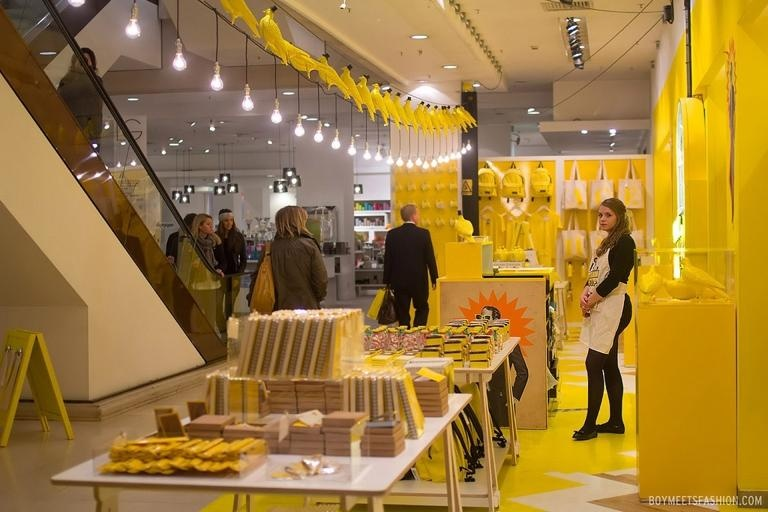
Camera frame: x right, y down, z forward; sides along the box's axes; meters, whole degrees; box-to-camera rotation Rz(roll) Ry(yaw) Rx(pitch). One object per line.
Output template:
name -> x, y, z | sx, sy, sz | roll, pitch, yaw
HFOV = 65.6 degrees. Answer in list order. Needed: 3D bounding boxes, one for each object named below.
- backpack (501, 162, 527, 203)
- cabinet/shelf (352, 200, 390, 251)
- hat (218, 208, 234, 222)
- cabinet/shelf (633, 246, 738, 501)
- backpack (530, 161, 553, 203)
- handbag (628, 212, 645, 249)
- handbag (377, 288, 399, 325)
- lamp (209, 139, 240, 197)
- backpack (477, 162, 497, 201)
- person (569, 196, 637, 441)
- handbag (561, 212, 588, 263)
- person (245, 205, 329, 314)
backpack -> 2.628, -1.470, 12.233 | 0.487, 0.731, 0.438 | 5, -19, -6
cabinet/shelf -> -0.359, -1.100, 21.688 | 1.731, 1.830, 0.564 | 0, 1, 28
hat -> -2.454, -0.627, 9.063 | 0.225, 0.220, 0.210 | 2, 2, 1
cabinet/shelf -> 2.148, 0.857, 4.256 | 0.689, 1.801, 0.357 | 2, 11, 14
backpack -> 3.203, -1.559, 12.229 | 0.436, 0.802, 0.400 | 1, -13, 3
handbag -> 4.111, -0.413, 9.666 | 0.264, 0.747, 0.770 | -2, -4, 20
handbag -> 0.039, 0.694, 8.247 | 0.222, 0.523, 0.423 | 2, -10, 9
lamp -> -5.315, -3.024, 20.322 | 0.539, 1.535, 0.644 | -4, 4, 21
backpack -> 2.068, -1.580, 12.227 | 0.513, 0.753, 0.434 | 3, -5, -15
person -> 2.121, 0.631, 5.700 | 0.475, 2.319, 0.635 | 4, 11, 22
handbag -> 3.768, -0.407, 11.851 | 0.485, 1.051, 0.245 | -2, 31, 15
person -> -1.058, 0.040, 6.375 | 0.823, 1.132, 0.521 | -2, 11, -9
